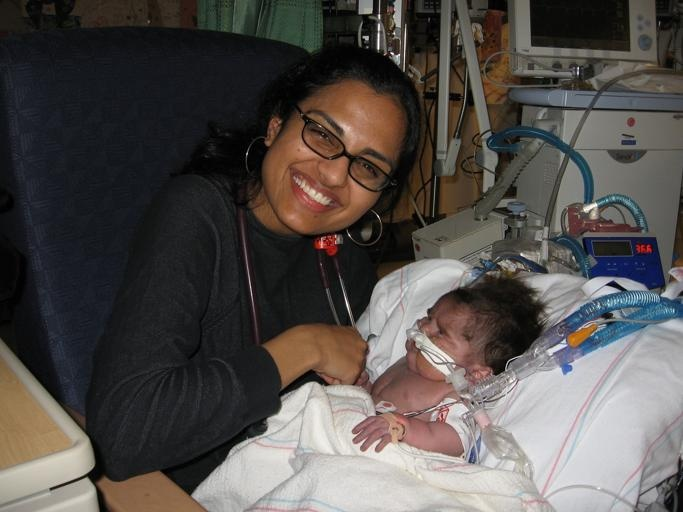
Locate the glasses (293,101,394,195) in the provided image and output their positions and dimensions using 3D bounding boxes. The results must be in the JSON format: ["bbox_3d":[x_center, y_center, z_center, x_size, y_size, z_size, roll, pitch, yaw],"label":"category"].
[{"bbox_3d":[0.012,-0.276,1.486,0.222,0.061,0.218,43,5,-21],"label":"glasses"}]
